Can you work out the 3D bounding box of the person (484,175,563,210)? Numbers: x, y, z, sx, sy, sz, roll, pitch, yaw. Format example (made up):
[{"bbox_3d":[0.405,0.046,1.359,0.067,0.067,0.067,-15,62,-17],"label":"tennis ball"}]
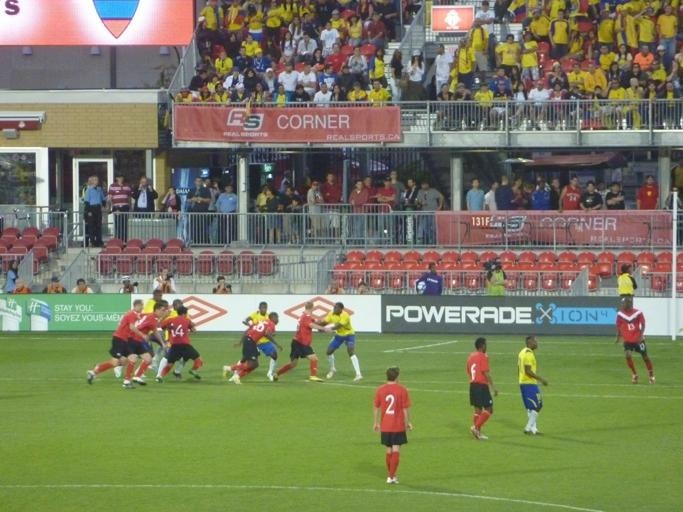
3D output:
[{"bbox_3d":[6.883,-2.439,68.270,2.768,1.277,1.100,0,0,1],"label":"person"}]

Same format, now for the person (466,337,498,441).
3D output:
[{"bbox_3d":[4.041,3.807,52.342,0.713,2.926,1.100,0,0,4],"label":"person"}]

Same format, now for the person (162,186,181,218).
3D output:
[{"bbox_3d":[-6.506,-2.163,69.268,0.714,1.110,2.361,0,-1,-6],"label":"person"}]

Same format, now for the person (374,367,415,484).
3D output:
[{"bbox_3d":[1.421,4.673,50.252,0.992,3.253,1.517,0,0,1],"label":"person"}]

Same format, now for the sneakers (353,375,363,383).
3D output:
[{"bbox_3d":[0.558,3.892,57.516,0.317,0.308,0.125,-3,6,-12],"label":"sneakers"}]

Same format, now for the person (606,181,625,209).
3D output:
[{"bbox_3d":[10.229,-2.291,67.595,0.644,1.006,0.795,0,0,10],"label":"person"}]

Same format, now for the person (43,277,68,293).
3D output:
[{"bbox_3d":[-10.378,1.061,65.313,0.678,0.709,0.506,-6,-3,20],"label":"person"}]

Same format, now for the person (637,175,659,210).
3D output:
[{"bbox_3d":[11.543,-2.151,68.035,0.802,2.100,0.618,0,-31,17],"label":"person"}]

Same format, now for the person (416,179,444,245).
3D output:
[{"bbox_3d":[3.348,-1.684,68.410,0.992,2.332,1.421,0,0,2],"label":"person"}]

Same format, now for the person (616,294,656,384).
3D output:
[{"bbox_3d":[9.149,2.613,56.853,0.866,2.998,0.764,-7,20,14],"label":"person"}]

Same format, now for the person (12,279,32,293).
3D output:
[{"bbox_3d":[-11.543,1.116,65.459,0.636,0.807,0.400,0,-3,-11],"label":"person"}]

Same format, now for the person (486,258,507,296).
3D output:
[{"bbox_3d":[5.562,0.733,64.691,0.638,1.265,1.417,0,-1,4],"label":"person"}]

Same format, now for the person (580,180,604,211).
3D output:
[{"bbox_3d":[9.308,-2.302,67.429,0.767,1.031,0.582,0,0,6],"label":"person"}]

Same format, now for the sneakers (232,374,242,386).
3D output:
[{"bbox_3d":[-3.285,3.899,57.266,0.276,0.314,0.261,-6,11,-1],"label":"sneakers"}]

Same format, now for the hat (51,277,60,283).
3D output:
[{"bbox_3d":[-10.242,0.799,64.902,0.196,0.243,0.172,-10,5,21],"label":"hat"}]

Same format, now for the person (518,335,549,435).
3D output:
[{"bbox_3d":[5.543,3.749,52.690,0.672,2.870,1.086,0,0,7],"label":"person"}]

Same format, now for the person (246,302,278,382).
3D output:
[{"bbox_3d":[-2.514,2.684,57.420,0.894,2.963,0.789,0,16,6],"label":"person"}]

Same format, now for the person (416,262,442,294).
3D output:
[{"bbox_3d":[3.133,0.795,64.349,0.911,1.139,1.997,0,-1,2],"label":"person"}]

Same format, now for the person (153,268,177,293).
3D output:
[{"bbox_3d":[-6.222,0.853,63.933,0.552,1.245,0.586,-3,10,-22],"label":"person"}]

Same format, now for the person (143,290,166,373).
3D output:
[{"bbox_3d":[-5.899,2.283,58.014,0.666,2.614,0.768,-6,-10,25],"label":"person"}]

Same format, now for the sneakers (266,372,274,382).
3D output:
[{"bbox_3d":[-2.252,3.845,57.812,0.219,0.180,0.337,8,-2,-4],"label":"sneakers"}]

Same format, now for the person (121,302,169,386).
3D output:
[{"bbox_3d":[-6.156,2.733,56.628,0.983,2.792,0.888,6,-2,44],"label":"person"}]

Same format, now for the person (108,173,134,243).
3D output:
[{"bbox_3d":[-8.295,-1.814,68.415,0.812,2.961,0.696,-2,-17,-8],"label":"person"}]

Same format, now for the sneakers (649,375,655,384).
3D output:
[{"bbox_3d":[9.791,3.865,56.974,0.097,0.267,0.331,1,12,12],"label":"sneakers"}]

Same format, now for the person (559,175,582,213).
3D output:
[{"bbox_3d":[8.651,-2.051,67.918,0.885,2.069,0.571,7,-18,-1],"label":"person"}]

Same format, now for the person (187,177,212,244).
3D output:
[{"bbox_3d":[-5.396,-1.775,68.883,0.872,2.510,1.295,0,0,-6],"label":"person"}]

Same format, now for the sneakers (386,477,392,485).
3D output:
[{"bbox_3d":[1.318,6.202,50.042,0.127,0.280,0.173,-2,1,-38],"label":"sneakers"}]

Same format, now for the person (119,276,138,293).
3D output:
[{"bbox_3d":[-7.542,1.057,64.687,0.335,0.539,0.780,-4,8,-21],"label":"person"}]

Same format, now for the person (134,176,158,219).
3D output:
[{"bbox_3d":[-7.418,-2.298,68.637,0.834,1.522,1.144,0,0,-8],"label":"person"}]

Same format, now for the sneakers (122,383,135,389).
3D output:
[{"bbox_3d":[-6.629,4.029,56.551,0.383,0.211,0.164,3,1,-28],"label":"sneakers"}]

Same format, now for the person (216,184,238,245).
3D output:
[{"bbox_3d":[-4.318,-1.706,68.618,0.802,2.663,0.553,-1,32,-5],"label":"person"}]

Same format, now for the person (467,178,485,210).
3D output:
[{"bbox_3d":[5.127,-2.098,68.610,0.643,1.874,0.418,-1,26,6],"label":"person"}]

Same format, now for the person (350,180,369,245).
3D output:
[{"bbox_3d":[0.695,-1.686,68.519,0.690,2.425,0.996,0,0,0],"label":"person"}]

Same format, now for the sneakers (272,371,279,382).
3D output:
[{"bbox_3d":[-2.093,3.804,57.693,0.230,0.314,0.618,2,-3,-2],"label":"sneakers"}]

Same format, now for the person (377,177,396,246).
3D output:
[{"bbox_3d":[1.746,-1.811,68.497,0.762,2.278,1.143,0,0,1],"label":"person"}]
